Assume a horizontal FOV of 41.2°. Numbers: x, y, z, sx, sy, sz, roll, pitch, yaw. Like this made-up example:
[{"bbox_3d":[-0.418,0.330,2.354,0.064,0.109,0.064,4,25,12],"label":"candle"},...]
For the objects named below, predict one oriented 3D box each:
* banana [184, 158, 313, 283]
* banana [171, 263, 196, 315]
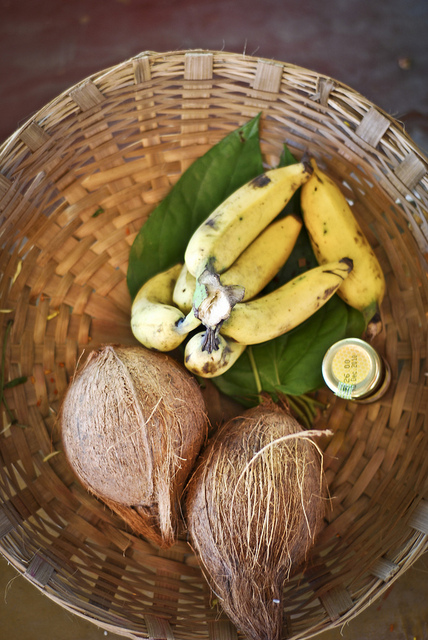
[{"bbox_3d":[0.054,-0.181,0.941,0.082,0.065,0.281,40,80,5],"label":"banana"},{"bbox_3d":[-0.057,-0.057,0.989,0.036,0.034,0.092,-20,45,16],"label":"banana"}]
